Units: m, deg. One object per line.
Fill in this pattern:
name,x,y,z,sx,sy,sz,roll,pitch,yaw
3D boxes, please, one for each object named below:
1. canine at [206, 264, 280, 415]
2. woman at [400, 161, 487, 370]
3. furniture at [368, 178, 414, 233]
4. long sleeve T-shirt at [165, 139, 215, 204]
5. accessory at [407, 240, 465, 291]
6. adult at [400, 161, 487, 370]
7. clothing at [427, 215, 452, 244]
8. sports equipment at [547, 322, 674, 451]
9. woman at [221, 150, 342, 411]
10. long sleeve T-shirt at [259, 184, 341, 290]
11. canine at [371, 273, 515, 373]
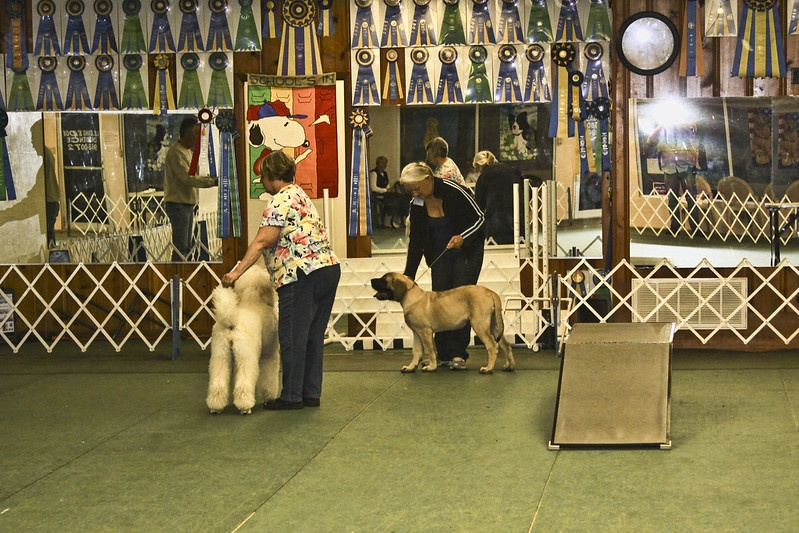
canine,-1.408,0.627,8.097,0.449,1.319,1.383,1,3,12
woman,0.465,0.000,9.322,0.940,2.204,0.863,0,7,14
furniture,-0.148,-0.740,11.166,0.510,0.810,0.536,-1,8,18
long sleeve T-shirt,-2.803,-1.184,11.542,0.746,0.859,0.642,0,5,-10
accessory,0.488,0.022,9.338,0.498,0.507,0.161,-2,9,16
adult,0.450,0.028,9.320,0.904,2.147,0.870,-1,6,10
clothing,0.449,-0.401,9.366,0.309,0.432,0.242,-1,3,5
sports equipment,1.879,0.974,7.583,1.044,0.371,1.473,-1,47,30
woman,-1.035,0.097,8.150,1.045,2.336,0.986,-2,-8,11
long sleeve T-shirt,-0.905,-0.224,8.043,0.689,0.919,0.791,-10,-8,17
canine,0.401,0.602,9.180,1.443,1.051,0.400,-1,1,16
